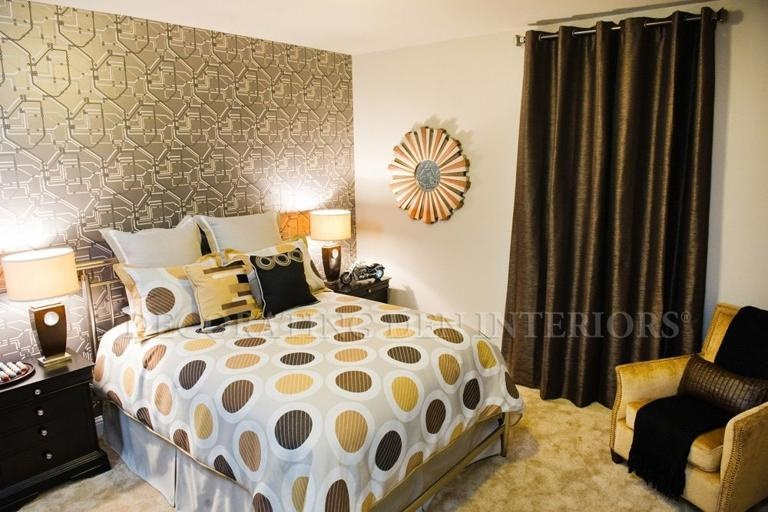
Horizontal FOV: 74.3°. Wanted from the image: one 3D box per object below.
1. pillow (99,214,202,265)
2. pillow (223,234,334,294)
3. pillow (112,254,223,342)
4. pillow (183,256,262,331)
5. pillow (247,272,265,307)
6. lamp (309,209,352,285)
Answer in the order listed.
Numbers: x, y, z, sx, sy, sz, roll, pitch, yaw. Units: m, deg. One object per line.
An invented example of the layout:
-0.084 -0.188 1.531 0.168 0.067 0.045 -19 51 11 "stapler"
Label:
-1.837 -0.096 4.051 0.457 0.422 0.134 4 -49 -35 "pillow"
-0.846 0.177 4.562 0.167 0.553 0.572 -35 -15 28 "pillow"
-1.686 0.331 3.813 0.596 0.577 0.178 -12 -9 -45 "pillow"
-1.262 0.282 3.930 0.553 0.536 0.160 -13 -9 -44 "pillow"
-1.023 0.270 4.031 0.073 0.236 0.222 -12 -6 -12 "pillow"
-0.496 -0.067 5.332 0.502 0.808 0.513 2 -2 17 "lamp"
